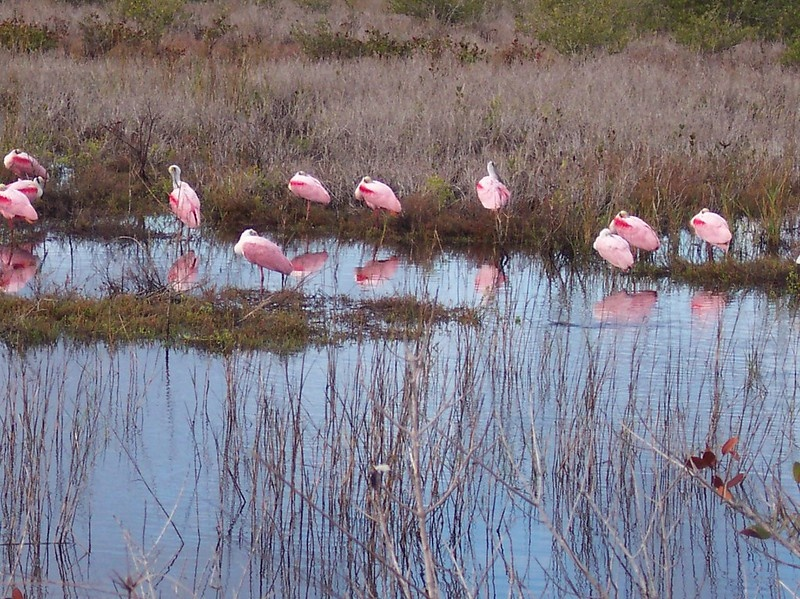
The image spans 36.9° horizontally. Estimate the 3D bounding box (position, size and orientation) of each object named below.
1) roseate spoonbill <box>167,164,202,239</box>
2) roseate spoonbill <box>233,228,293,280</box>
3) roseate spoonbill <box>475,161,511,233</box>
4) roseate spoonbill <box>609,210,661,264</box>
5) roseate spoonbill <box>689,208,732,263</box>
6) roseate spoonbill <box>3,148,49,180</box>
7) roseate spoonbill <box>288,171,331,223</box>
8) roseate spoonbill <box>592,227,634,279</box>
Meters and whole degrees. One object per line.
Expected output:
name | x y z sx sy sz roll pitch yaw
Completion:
roseate spoonbill | -3.496 -1.544 19.356 0.587 0.490 1.210 12 112 23
roseate spoonbill | -1.977 -0.524 17.184 0.841 0.501 1.098 3 98 8
roseate spoonbill | 1.606 -1.658 20.299 0.355 1.473 0.511 11 38 26
roseate spoonbill | 3.674 -1.034 18.869 0.874 0.763 0.503 13 32 35
roseate spoonbill | 4.900 -0.965 18.967 0.653 0.466 0.971 7 101 39
roseate spoonbill | -6.735 -2.391 21.466 0.541 0.463 0.286 27 82 19
roseate spoonbill | -1.592 -1.762 21.031 0.739 0.499 1.017 3 100 16
roseate spoonbill | 3.280 -0.736 18.279 0.449 0.610 0.677 -21 28 -40
